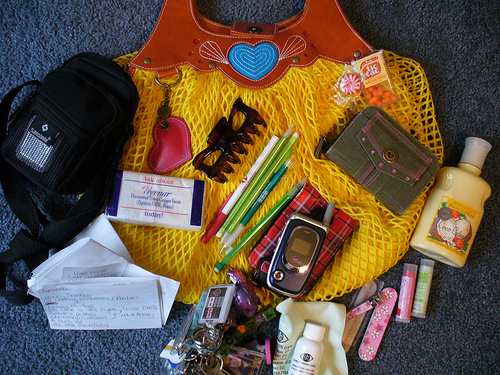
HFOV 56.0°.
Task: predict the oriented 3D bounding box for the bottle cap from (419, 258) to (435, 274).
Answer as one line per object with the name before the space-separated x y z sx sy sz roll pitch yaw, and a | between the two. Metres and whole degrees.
bottle cap | 0.443 0.197 1.179 0.027 0.030 0.035 7 84 -4

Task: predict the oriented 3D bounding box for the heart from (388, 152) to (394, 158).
heart | 0.338 -0.077 1.128 0.013 0.002 0.013 -4 86 3

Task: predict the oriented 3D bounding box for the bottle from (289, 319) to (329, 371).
bottle | 0.151 0.394 1.134 0.084 0.051 0.127 18 87 4

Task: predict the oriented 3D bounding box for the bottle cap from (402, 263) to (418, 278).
bottle cap | 0.402 0.209 1.185 0.029 0.030 0.037 -2 79 44

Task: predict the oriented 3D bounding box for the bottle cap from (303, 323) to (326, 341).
bottle cap | 0.154 0.342 1.120 0.035 0.039 0.029 13 73 22

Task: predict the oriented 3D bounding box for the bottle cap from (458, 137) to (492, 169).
bottle cap | 0.554 -0.082 1.156 0.059 0.035 0.068 19 87 4

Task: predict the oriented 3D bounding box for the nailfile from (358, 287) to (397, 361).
nailfile | 0.320 0.345 1.200 0.068 0.296 0.029 -1 37 -6

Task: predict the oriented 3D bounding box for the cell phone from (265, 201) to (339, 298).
cell phone | 0.129 0.144 1.134 0.115 0.072 0.262 26 74 20
